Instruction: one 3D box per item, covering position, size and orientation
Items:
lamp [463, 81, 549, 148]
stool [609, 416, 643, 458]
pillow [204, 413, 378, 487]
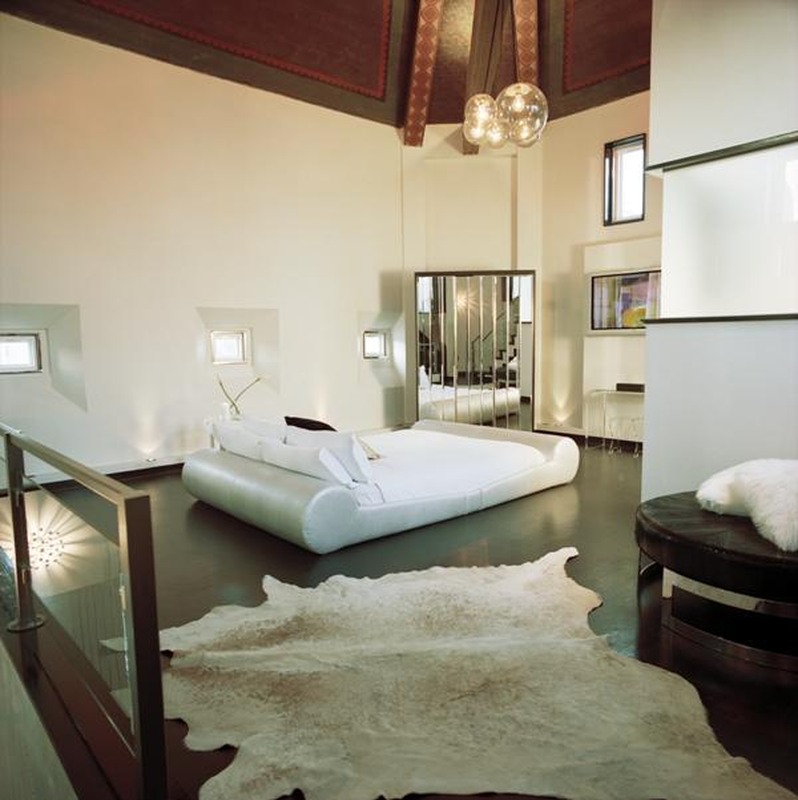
[{"bbox_3d":[0.715,-1.834,4.403,0.355,0.378,0.634,-11,17,-22],"label":"lamp"},{"bbox_3d":[2.443,0.357,7.149,0.346,0.275,0.945,2,11,18],"label":"stool"},{"bbox_3d":[-0.703,0.291,4.223,1.261,0.323,0.381,9,14,44],"label":"pillow"}]
